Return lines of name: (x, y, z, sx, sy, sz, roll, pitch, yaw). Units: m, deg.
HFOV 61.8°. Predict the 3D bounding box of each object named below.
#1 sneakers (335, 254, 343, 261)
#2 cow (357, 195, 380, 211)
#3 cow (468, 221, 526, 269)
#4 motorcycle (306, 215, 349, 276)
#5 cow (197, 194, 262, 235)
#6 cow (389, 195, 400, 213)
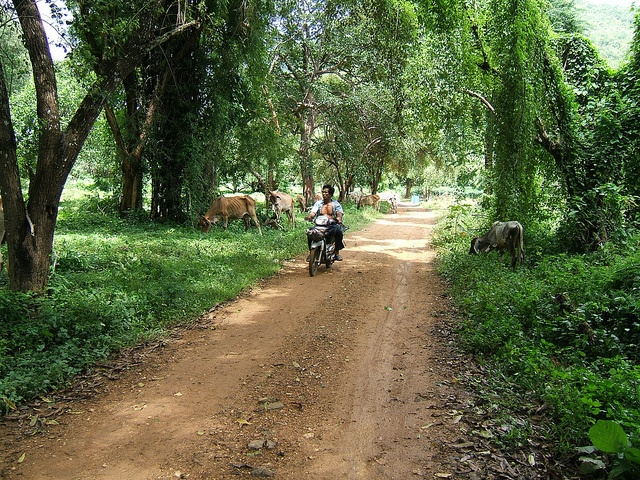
sneakers: (0.505, 0.497, 14.804, 0.166, 0.168, 0.370, -2, -3, -3)
cow: (3.169, -2.434, 35.314, 1.212, 0.994, 2.419, 5, 14, 21)
cow: (4.759, -0.022, 14.199, 0.561, 1.223, 1.962, -4, 13, -16)
motorcycle: (0.075, 0.154, 14.345, 0.898, 1.126, 1.695, 1, -2, 15)
cow: (-3.345, -0.875, 19.251, 2.391, 1.417, 1.190, -12, 17, -41)
cow: (5.223, -2.463, 37.940, 0.884, 1.219, 2.028, -2, 2, 6)
